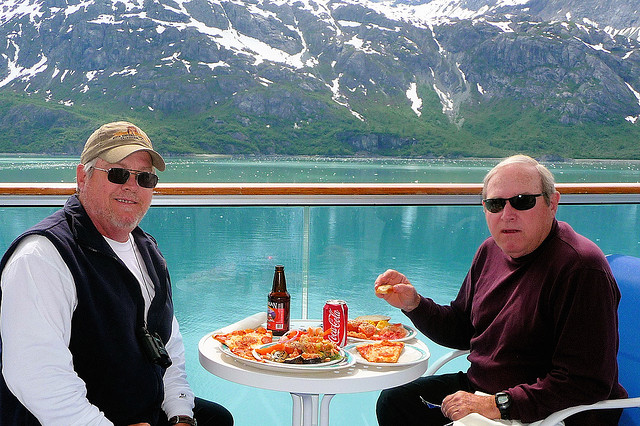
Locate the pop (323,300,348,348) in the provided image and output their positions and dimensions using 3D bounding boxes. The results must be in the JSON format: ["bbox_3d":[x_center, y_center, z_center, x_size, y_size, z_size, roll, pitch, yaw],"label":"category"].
[{"bbox_3d":[0.070,0.470,2.592,0.122,0.190,0.113,-3,11,-20],"label":"pop"}]

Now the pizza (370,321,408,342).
[{"bbox_3d":[0.312,0.530,2.690,0.098,0.027,0.095,2,10,-23],"label":"pizza"}]

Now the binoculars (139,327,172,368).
[{"bbox_3d":[-0.629,0.517,2.326,0.054,0.143,0.151,-33,-15,19],"label":"binoculars"}]

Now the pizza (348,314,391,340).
[{"bbox_3d":[0.216,0.516,2.721,0.122,0.018,0.113,-5,14,-17],"label":"pizza"}]

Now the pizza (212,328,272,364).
[{"bbox_3d":[-0.311,0.535,2.471,0.137,0.017,0.138,21,19,36],"label":"pizza"}]

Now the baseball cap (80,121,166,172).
[{"bbox_3d":[-0.821,-0.278,2.494,0.382,0.175,0.283,-9,-5,43],"label":"baseball cap"}]
